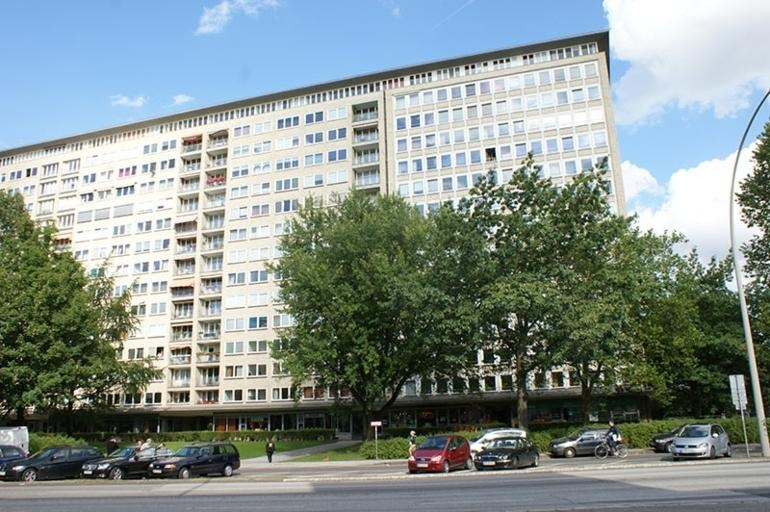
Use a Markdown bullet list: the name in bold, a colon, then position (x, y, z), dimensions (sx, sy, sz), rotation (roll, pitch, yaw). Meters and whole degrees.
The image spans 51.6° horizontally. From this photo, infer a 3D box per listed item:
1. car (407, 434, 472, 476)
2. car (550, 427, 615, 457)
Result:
- **car**: position (4.352, 15.411, 62.243), dimensions (4.953, 2.921, 1.750), rotation (5, -18, -30)
- **car**: position (16.679, 16.065, 68.244), dimensions (4.810, 1.530, 2.193), rotation (0, -9, -3)
